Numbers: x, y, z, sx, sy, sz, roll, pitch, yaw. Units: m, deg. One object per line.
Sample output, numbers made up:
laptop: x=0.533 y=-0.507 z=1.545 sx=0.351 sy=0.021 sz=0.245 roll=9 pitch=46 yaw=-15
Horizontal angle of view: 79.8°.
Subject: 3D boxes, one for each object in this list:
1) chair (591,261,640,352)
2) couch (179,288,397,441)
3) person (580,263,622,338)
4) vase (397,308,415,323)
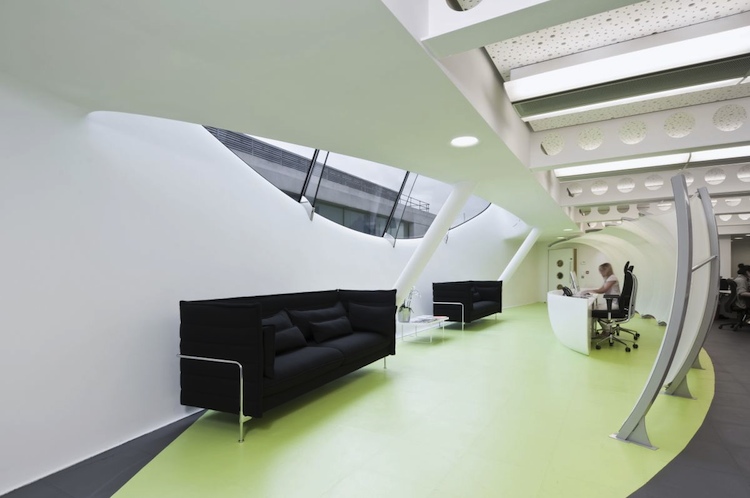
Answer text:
chair: x=4.855 y=1.163 z=9.295 sx=1.034 sy=1.728 sz=1.067 roll=1 pitch=2 yaw=36
couch: x=-0.955 y=1.412 z=6.865 sx=1.408 sy=1.442 sz=3.760 roll=-3 pitch=-3 yaw=26
person: x=5.014 y=1.135 z=9.922 sx=0.939 sy=1.664 sz=0.825 roll=-9 pitch=6 yaw=27
vase: x=0.681 y=1.454 z=9.673 sx=0.246 sy=0.398 sz=0.436 roll=-3 pitch=-9 yaw=25
